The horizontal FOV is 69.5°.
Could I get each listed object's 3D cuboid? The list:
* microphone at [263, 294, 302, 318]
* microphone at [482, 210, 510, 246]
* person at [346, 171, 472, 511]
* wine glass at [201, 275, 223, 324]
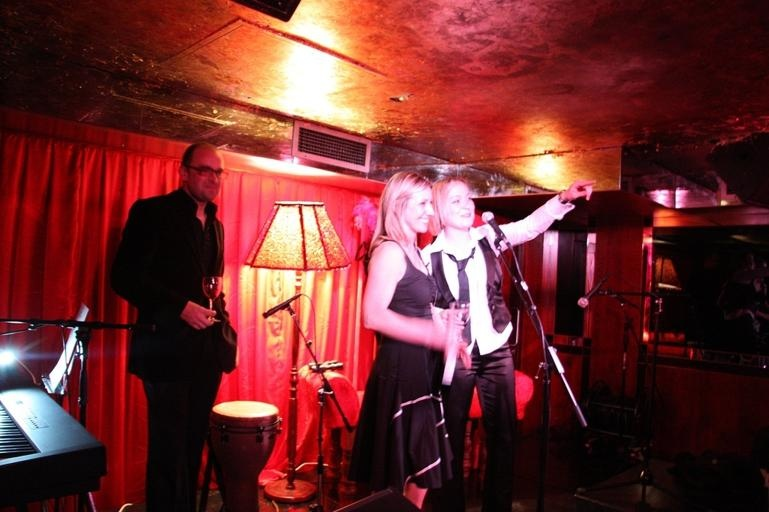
[{"bbox_3d":[-0.918,0.431,4.880,0.381,0.111,0.080,-26,25,-6],"label":"microphone"},{"bbox_3d":[0.785,-0.232,4.021,0.116,0.114,0.412,-4,30,-15],"label":"microphone"},{"bbox_3d":[0.166,0.496,3.263,0.598,1.966,0.436,5,0,8],"label":"person"},{"bbox_3d":[-1.108,0.285,3.573,0.124,0.304,0.405,5,-1,-16],"label":"wine glass"}]
